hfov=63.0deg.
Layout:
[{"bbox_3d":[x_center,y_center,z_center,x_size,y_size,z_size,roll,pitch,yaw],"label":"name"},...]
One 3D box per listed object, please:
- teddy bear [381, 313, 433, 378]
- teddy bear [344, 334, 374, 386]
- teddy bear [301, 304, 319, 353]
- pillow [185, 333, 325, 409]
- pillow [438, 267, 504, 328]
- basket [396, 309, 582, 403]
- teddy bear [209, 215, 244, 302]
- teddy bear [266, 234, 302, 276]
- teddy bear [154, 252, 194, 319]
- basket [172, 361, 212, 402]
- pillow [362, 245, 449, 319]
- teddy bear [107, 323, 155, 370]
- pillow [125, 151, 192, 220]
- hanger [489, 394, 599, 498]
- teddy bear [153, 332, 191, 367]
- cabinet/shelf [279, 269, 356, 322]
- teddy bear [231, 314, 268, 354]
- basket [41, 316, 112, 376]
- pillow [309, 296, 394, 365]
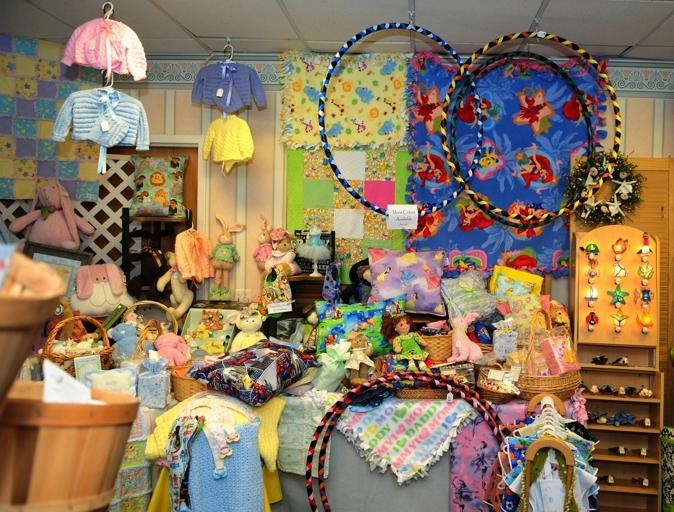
[{"bbox_3d":[0.414,0.570,3.425,0.252,0.382,0.313,-6,-32,-8],"label":"teddy bear"},{"bbox_3d":[0.147,0.656,3.435,0.181,0.330,0.283,2,-6,3],"label":"teddy bear"},{"bbox_3d":[-0.184,0.532,3.933,0.072,0.260,0.151,16,-25,-22],"label":"teddy bear"},{"bbox_3d":[-0.450,0.671,3.243,0.424,0.135,0.438,13,20,38],"label":"pillow"},{"bbox_3d":[0.931,0.258,3.818,0.318,0.322,0.114,-7,-32,-8],"label":"pillow"},{"bbox_3d":[0.999,0.658,3.317,0.786,0.327,0.637,0,-9,3],"label":"basket"},{"bbox_3d":[-0.920,0.020,4.594,0.270,0.702,0.257,3,-6,-2],"label":"teddy bear"},{"bbox_3d":[-0.407,0.008,4.307,0.246,0.327,0.301,-8,-17,36],"label":"teddy bear"},{"bbox_3d":[-1.324,0.248,4.501,0.335,0.530,0.352,1,-6,17],"label":"teddy bear"},{"bbox_3d":[-0.913,0.758,3.386,0.217,0.155,0.225,1,-2,-29],"label":"basket"},{"bbox_3d":[0.482,0.202,3.909,0.453,0.449,0.174,2,-32,3],"label":"pillow"},{"bbox_3d":[-1.352,0.637,3.611,0.258,0.171,0.319,2,26,-3],"label":"teddy bear"},{"bbox_3d":[-1.472,-0.585,4.538,0.455,0.544,0.261,4,-6,-19],"label":"pillow"},{"bbox_3d":[1.051,0.917,2.807,0.383,0.225,0.546,-2,10,16],"label":"hanger"},{"bbox_3d":[-1.090,0.558,3.668,0.277,0.342,0.134,-2,33,-15],"label":"teddy bear"},{"bbox_3d":[-0.166,0.292,4.379,0.386,0.537,0.401,0,0,-8],"label":"cabinet/shelf"},{"bbox_3d":[-0.604,0.506,3.751,0.287,0.361,0.235,1,-7,-16],"label":"teddy bear"},{"bbox_3d":[-1.708,0.568,3.651,0.407,0.353,0.872,5,-6,-25],"label":"basket"},{"bbox_3d":[0.101,0.429,3.562,0.474,0.358,0.143,-4,-37,10],"label":"pillow"}]
